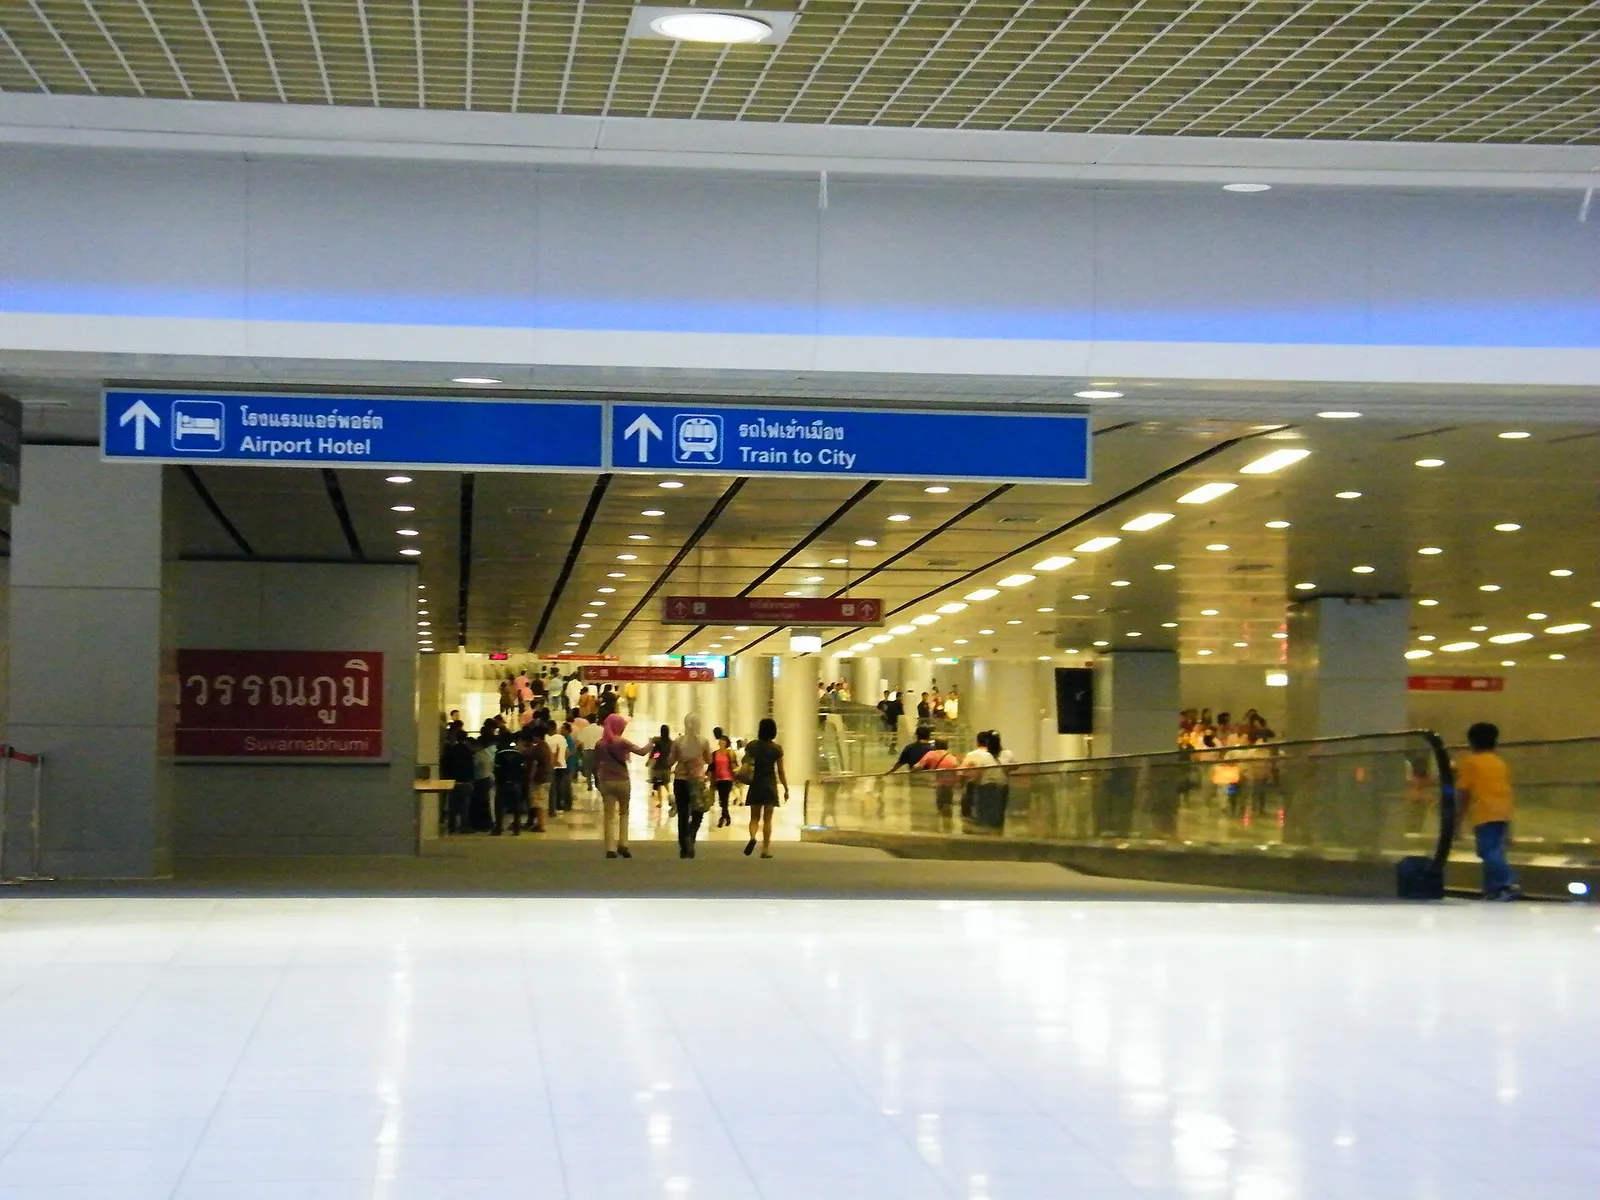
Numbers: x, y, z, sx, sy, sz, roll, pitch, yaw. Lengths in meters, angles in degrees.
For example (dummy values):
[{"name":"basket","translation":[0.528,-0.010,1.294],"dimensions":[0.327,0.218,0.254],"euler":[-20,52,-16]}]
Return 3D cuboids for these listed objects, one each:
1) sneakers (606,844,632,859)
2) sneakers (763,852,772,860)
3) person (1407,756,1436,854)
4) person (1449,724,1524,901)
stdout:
[{"name":"sneakers","translation":[-2.335,3.293,17.538],"dimensions":[0.186,0.176,0.476],"euler":[2,1,18]},{"name":"sneakers","translation":[-0.421,3.341,17.590],"dimensions":[0.085,0.089,0.247],"euler":[2,-12,-11]},{"name":"person","translation":[5.734,1.872,12.452],"dimensions":[0.093,0.927,0.313],"euler":[4,-8,-27]},{"name":"person","translation":[5.993,1.830,11.818],"dimensions":[0.425,1.480,1.511],"euler":[-3,-7,27]}]
